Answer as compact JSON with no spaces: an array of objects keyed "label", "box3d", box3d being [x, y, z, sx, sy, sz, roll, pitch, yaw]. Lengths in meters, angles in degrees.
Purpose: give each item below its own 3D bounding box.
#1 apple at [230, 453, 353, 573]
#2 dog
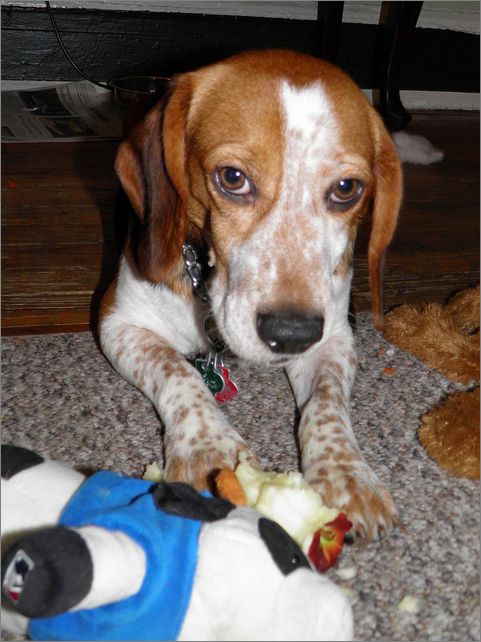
[{"label":"apple","box3d":[0.060,0.315,0.989,0.138,0.104,0.231,-27,62,-35]},{"label":"dog","box3d":[0.005,-0.408,2.087,0.909,1.127,2.093,4,32,-8]}]
